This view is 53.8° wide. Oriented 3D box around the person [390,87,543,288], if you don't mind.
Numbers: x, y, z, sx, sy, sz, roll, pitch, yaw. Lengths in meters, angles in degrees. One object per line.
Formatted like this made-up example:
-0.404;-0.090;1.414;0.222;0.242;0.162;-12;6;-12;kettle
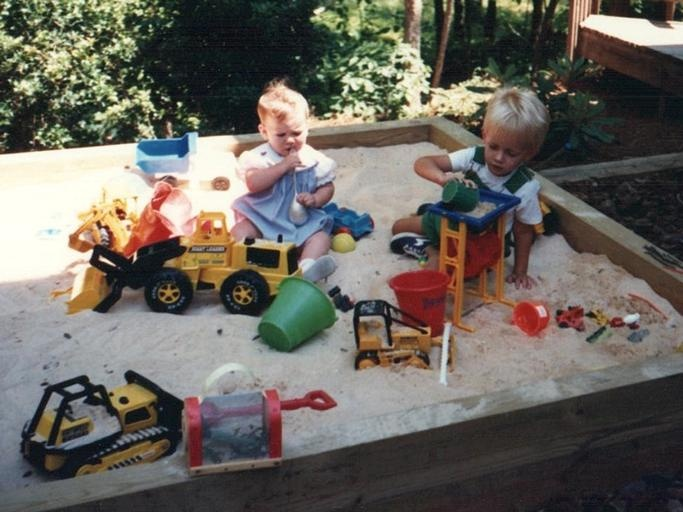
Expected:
0.882;-0.491;4.518;1.112;1.174;0.775;13;30;21;person

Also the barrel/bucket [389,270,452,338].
0.462;0.208;3.907;0.383;0.324;0.373;-4;21;2;barrel/bucket

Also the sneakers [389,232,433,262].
0.475;-0.060;4.619;0.339;0.115;0.137;13;22;43;sneakers

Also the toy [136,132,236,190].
-1.293;-0.792;5.631;0.827;0.327;0.467;0;43;-5;toy

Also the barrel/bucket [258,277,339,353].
-0.274;0.339;3.876;0.348;0.304;0.338;0;31;0;barrel/bucket

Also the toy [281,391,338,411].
-0.165;0.715;3.315;0.233;0.037;0.109;-8;16;-19;toy

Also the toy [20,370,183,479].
-1.141;0.821;3.210;0.721;0.336;0.476;-10;25;-28;toy

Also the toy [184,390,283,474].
-0.474;0.758;2.980;0.407;0.230;0.302;-4;31;-7;toy
